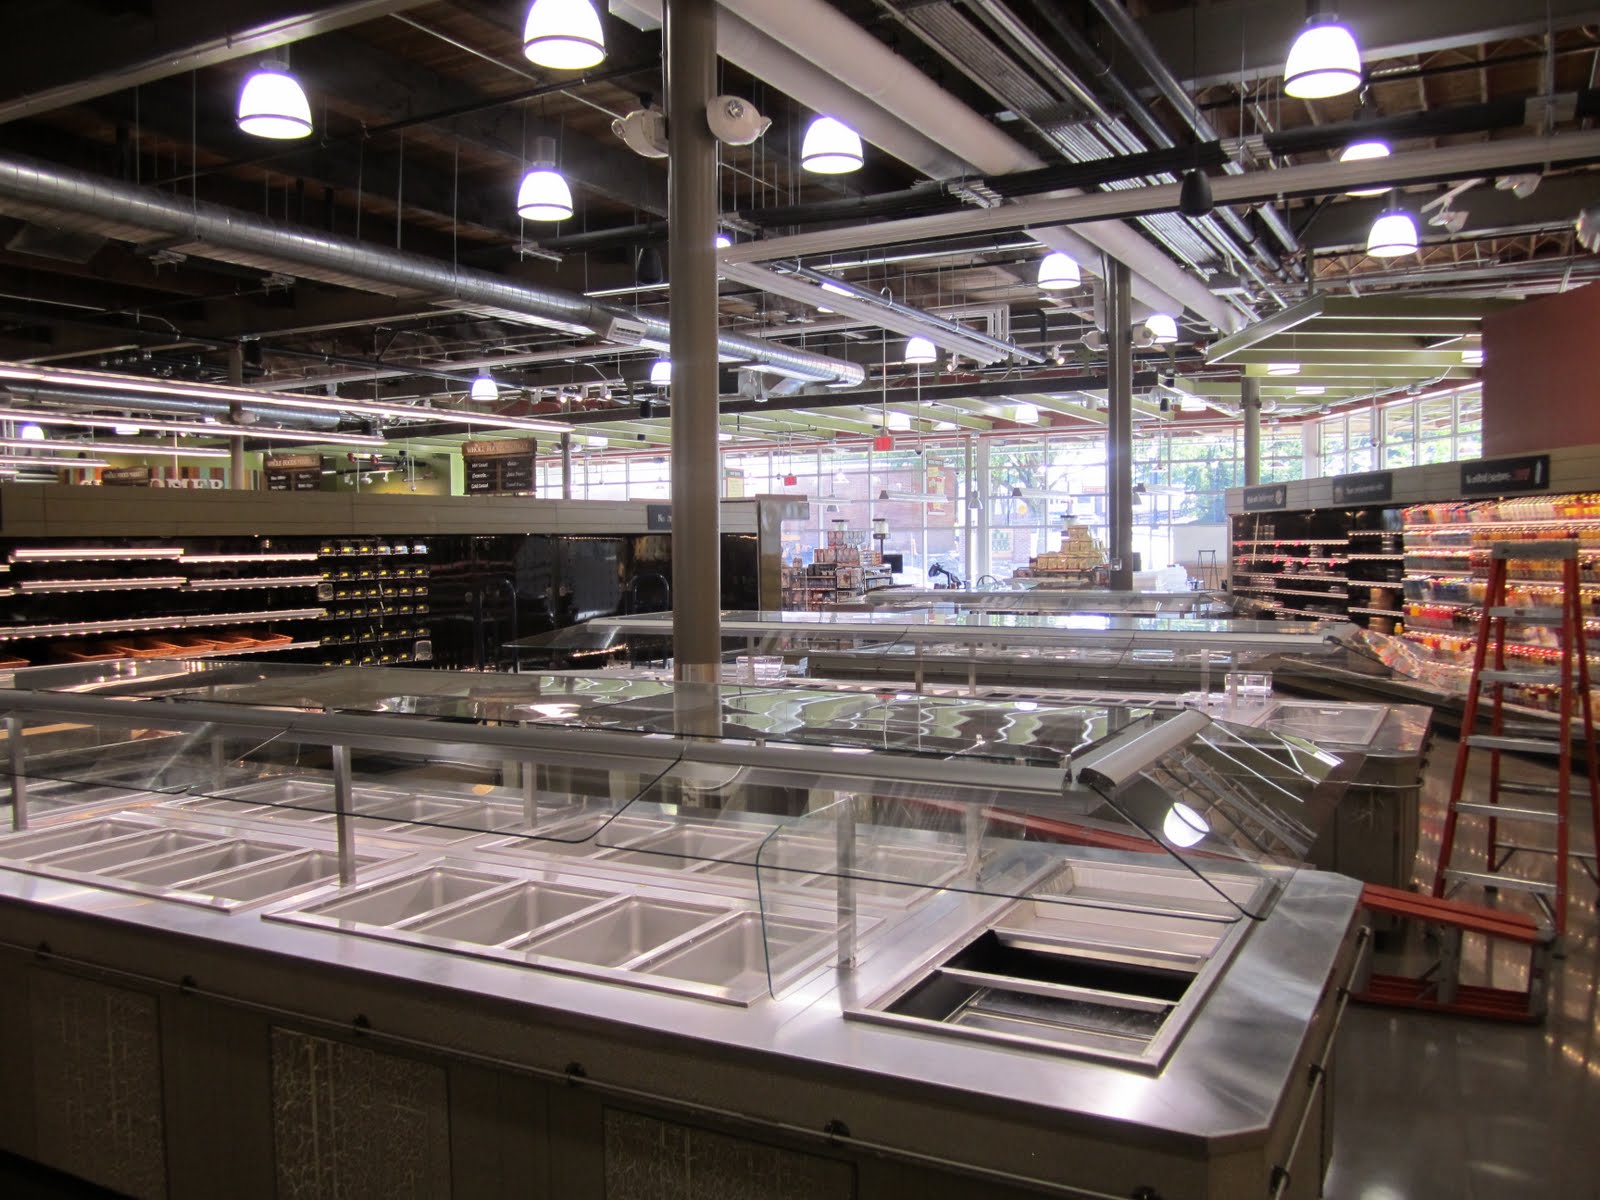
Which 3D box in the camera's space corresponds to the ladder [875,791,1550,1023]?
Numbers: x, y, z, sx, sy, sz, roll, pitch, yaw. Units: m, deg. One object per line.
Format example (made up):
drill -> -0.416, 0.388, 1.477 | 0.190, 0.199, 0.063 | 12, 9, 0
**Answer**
ladder -> 1.297, 0.980, 3.759 | 1.692, 0.281, 0.748 | 5, 8, 32
